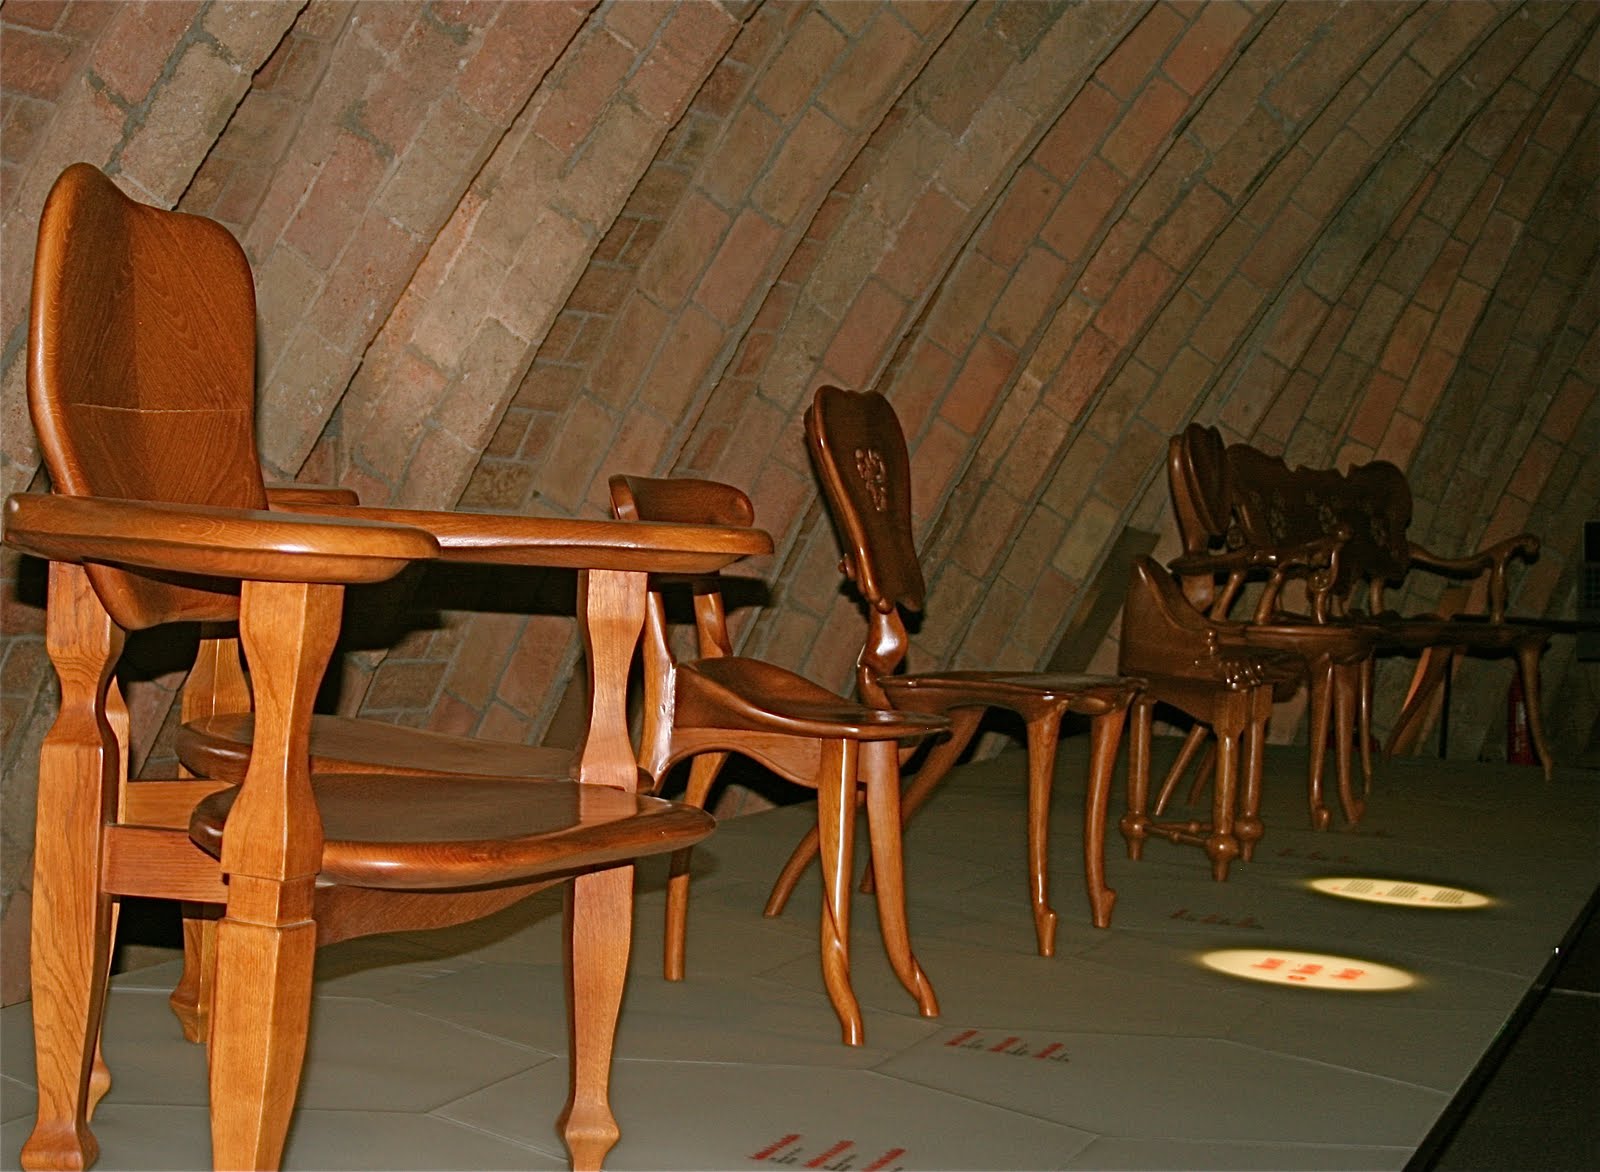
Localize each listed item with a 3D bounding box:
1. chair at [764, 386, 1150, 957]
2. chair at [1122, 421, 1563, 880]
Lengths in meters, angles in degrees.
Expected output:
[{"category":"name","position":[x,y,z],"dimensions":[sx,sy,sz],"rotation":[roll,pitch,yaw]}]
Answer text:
[{"category":"chair","position":[0.385,0.190,3.981],"dimensions":[0.841,1.229,0.669],"rotation":[1,2,15]},{"category":"chair","position":[2.131,0.203,6.476],"dimensions":[1.972,1.325,0.805],"rotation":[4,-6,-44]}]
